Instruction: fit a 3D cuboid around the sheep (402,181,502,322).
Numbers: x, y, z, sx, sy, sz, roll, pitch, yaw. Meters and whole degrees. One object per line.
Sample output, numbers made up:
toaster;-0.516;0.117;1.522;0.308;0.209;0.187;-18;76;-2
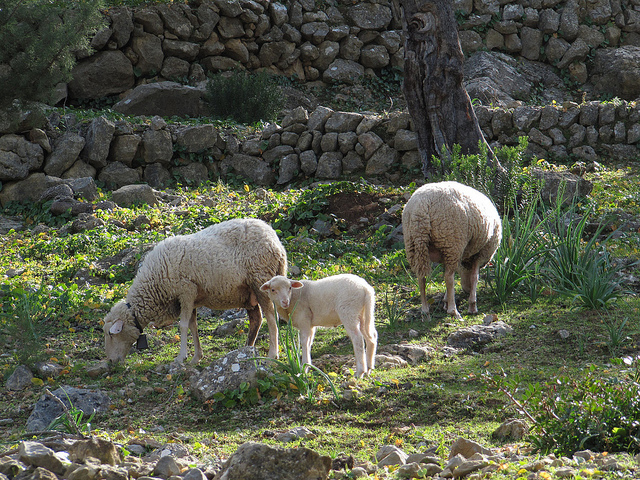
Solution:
sheep;2.445;0.204;15.466;1.307;2.441;2.621;6;4;40

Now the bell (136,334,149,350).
bell;-2.836;1.633;14.298;0.161;0.225;0.205;0;-4;-7
